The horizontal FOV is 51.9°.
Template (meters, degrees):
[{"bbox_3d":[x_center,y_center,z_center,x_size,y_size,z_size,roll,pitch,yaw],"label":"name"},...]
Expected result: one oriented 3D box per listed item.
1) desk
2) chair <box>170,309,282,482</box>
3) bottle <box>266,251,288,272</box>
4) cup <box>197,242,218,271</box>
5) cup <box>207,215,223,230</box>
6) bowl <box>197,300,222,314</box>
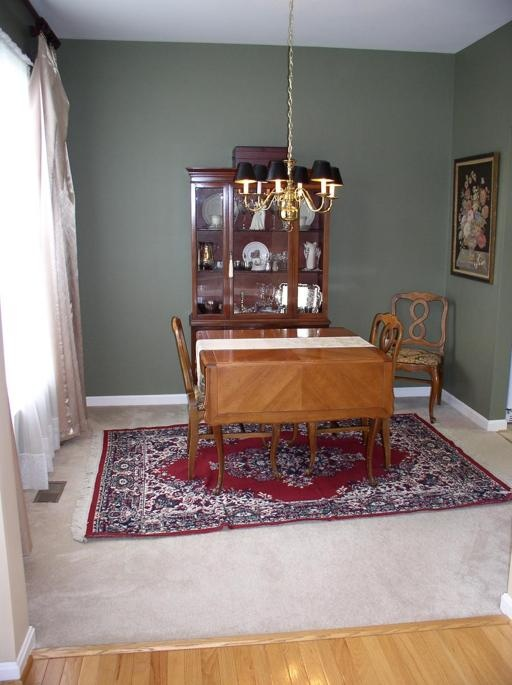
[{"bbox_3d":[0.139,0.224,3.257,0.882,0.649,0.964,-2,16,-7],"label":"desk"},{"bbox_3d":[-0.174,0.339,3.236,0.708,1.204,0.675,-2,20,-4],"label":"chair"},{"bbox_3d":[0.164,-0.664,4.232,0.146,0.150,0.052,-1,8,-4],"label":"bottle"},{"bbox_3d":[-0.396,-0.689,4.164,0.181,0.285,0.188,1,7,0],"label":"cup"},{"bbox_3d":[-0.309,-0.936,4.087,0.097,0.101,0.101,0,13,0],"label":"cup"},{"bbox_3d":[-0.375,-0.283,4.213,0.113,0.095,0.129,0,3,-3],"label":"bowl"}]
